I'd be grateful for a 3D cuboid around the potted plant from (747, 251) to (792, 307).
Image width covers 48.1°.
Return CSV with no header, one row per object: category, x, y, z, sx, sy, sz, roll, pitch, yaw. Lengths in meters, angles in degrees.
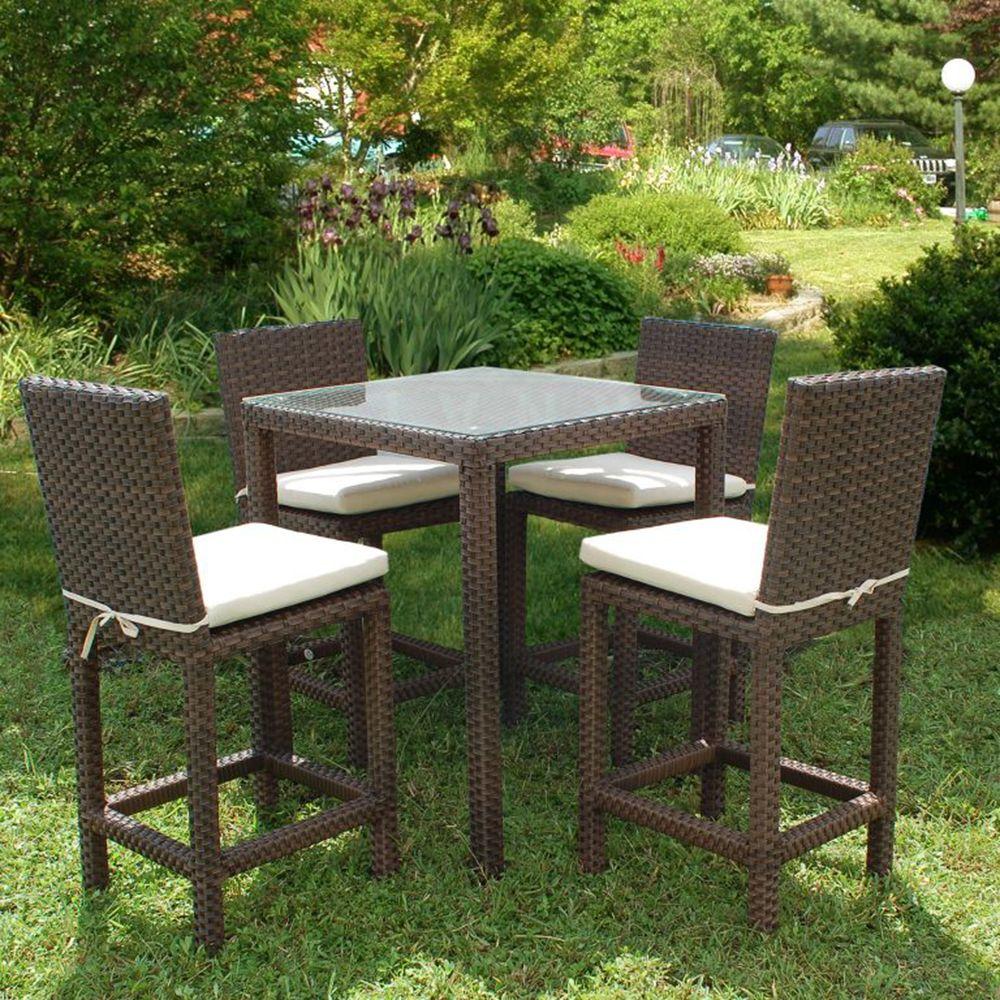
potted plant,3.026,-2.495,12.487,0.477,0.506,0.633,8,16,30
